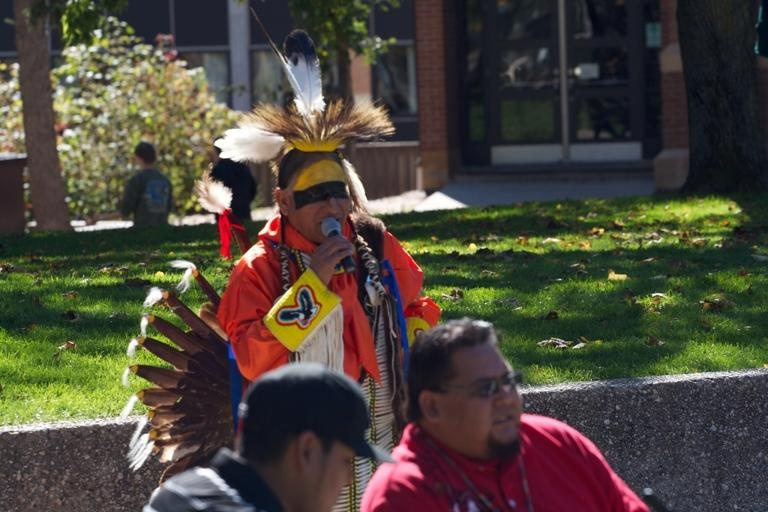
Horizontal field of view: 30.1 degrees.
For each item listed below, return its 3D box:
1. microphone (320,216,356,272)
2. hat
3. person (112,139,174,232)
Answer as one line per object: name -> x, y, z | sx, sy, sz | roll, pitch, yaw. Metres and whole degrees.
microphone -> -0.408, -0.147, 12.378 | 0.222, 0.221, 0.537 | -20, 45, -2
hat -> -0.608, 1.203, 11.088 | 0.885, 0.459, 0.639 | 6, 0, -4
person -> -3.489, -1.066, 20.686 | 0.739, 1.222, 0.554 | -3, 8, -11
